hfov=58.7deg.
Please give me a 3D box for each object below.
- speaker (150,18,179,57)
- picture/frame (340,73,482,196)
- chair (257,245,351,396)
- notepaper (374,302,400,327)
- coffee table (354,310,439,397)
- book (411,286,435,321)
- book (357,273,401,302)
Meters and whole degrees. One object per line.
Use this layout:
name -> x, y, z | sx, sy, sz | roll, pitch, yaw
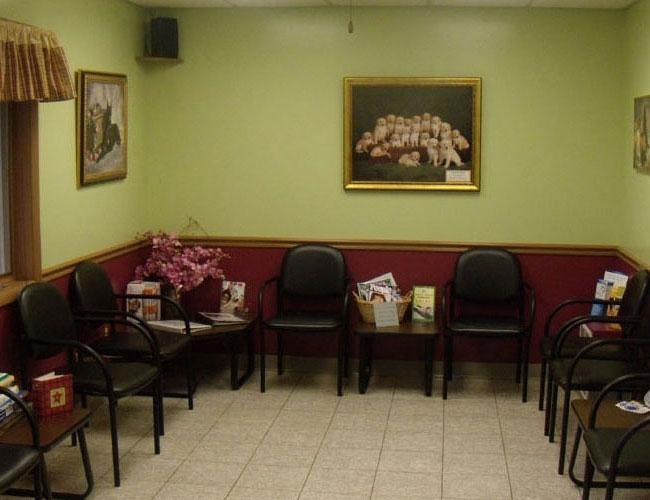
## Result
speaker -> -1.343, -1.778, 4.811 | 0.233, 0.350, 0.180 | 6, 17, 9
picture/frame -> 0.737, -0.986, 4.727 | 0.882, 0.844, 0.046 | 1, 5, 8
chair -> -0.180, 0.545, 4.741 | 0.764, 1.125, 0.651 | 0, 9, 2
notepaper -> 0.478, 0.521, 4.589 | 0.173, 0.197, 0.009 | 0, -5, -6
coffee table -> 0.582, 0.855, 4.693 | 0.682, 0.524, 0.567 | 1, 10, 4
book -> 0.803, 0.448, 4.752 | 0.242, 0.377, 0.038 | 2, 0, 11
book -> 0.441, 0.319, 4.750 | 0.241, 0.073, 0.262 | -6, 56, -12
